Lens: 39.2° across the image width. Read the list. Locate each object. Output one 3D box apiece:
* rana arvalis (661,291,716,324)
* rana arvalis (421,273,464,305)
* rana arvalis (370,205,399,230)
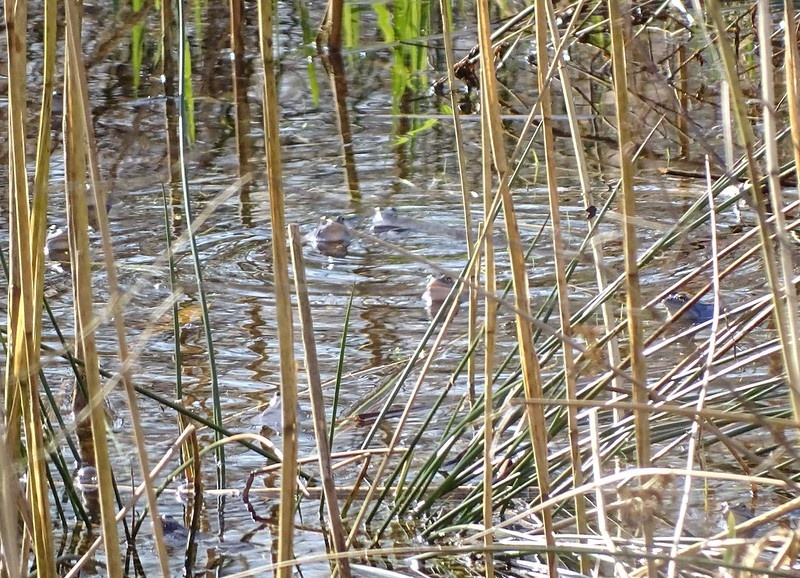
[{"bbox_3d":[0.524,0.034,2.049,0.120,0.040,0.064,7,27,-49],"label":"rana arvalis"},{"bbox_3d":[0.094,-0.005,2.498,0.068,0.026,0.079,6,35,-1],"label":"rana arvalis"},{"bbox_3d":[-0.045,-0.185,2.897,0.070,0.028,0.063,8,50,9],"label":"rana arvalis"}]
